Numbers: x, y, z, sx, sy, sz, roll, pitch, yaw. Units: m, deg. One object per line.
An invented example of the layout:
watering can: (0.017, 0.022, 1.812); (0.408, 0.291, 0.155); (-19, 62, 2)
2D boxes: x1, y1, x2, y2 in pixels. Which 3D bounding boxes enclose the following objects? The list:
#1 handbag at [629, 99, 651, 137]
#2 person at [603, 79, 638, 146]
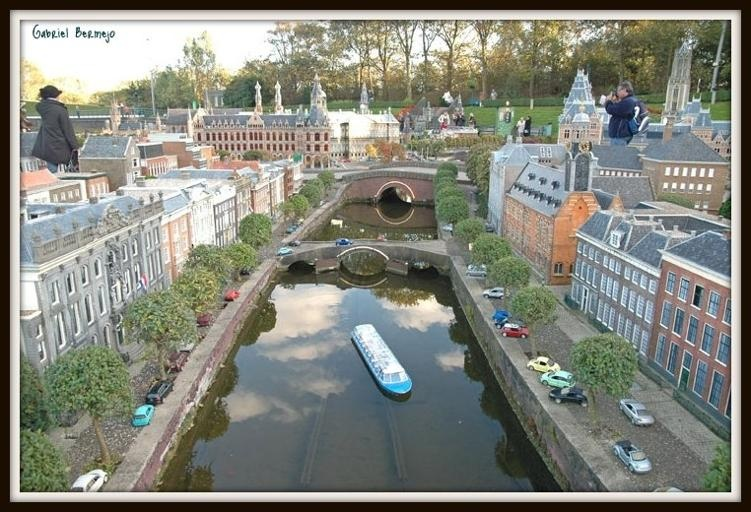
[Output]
handbag: (12.805, -6.479, 24.727); (1.022, 1.814, 1.352); (0, 0, 34)
person: (11.795, -6.940, 24.433); (1.050, 2.472, 1.302); (-2, 5, -33)
